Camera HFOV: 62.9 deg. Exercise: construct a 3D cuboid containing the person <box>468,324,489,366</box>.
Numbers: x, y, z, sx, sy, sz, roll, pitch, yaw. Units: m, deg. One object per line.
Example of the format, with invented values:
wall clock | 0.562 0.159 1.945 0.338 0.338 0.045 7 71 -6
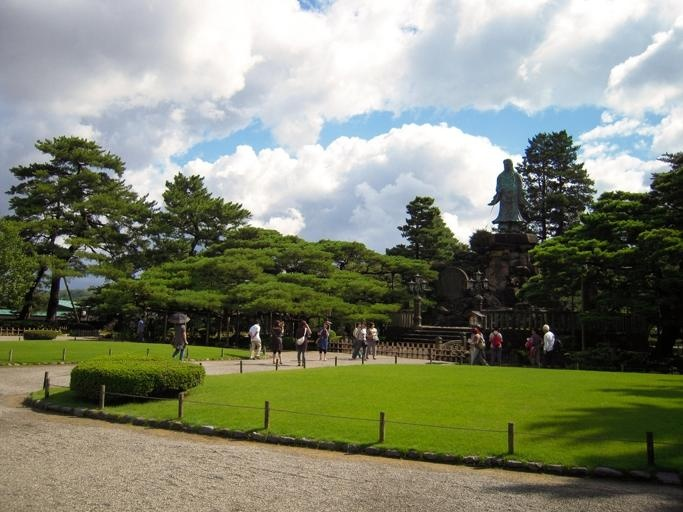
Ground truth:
person | 7.126 4.848 29.450 0.785 1.847 1.497 -1 0 13
